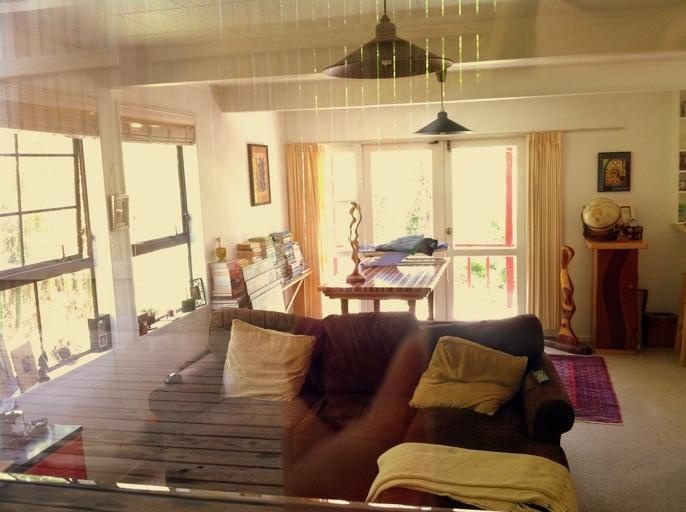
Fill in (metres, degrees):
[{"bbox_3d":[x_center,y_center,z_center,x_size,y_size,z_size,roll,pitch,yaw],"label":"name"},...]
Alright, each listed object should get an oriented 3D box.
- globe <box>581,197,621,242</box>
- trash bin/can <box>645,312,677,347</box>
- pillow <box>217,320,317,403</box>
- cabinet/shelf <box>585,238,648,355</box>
[{"bbox_3d":[2.005,-0.286,4.115,0.271,0.321,0.171,0,8,24],"label":"globe"},{"bbox_3d":[2.477,0.568,4.133,0.260,0.263,0.254,0,-2,5],"label":"trash bin/can"},{"bbox_3d":[-0.118,0.160,0.973,0.216,0.137,0.128,1,6,25],"label":"pillow"},{"bbox_3d":[2.056,0.295,4.021,0.600,1.122,0.290,0,7,16],"label":"cabinet/shelf"}]
